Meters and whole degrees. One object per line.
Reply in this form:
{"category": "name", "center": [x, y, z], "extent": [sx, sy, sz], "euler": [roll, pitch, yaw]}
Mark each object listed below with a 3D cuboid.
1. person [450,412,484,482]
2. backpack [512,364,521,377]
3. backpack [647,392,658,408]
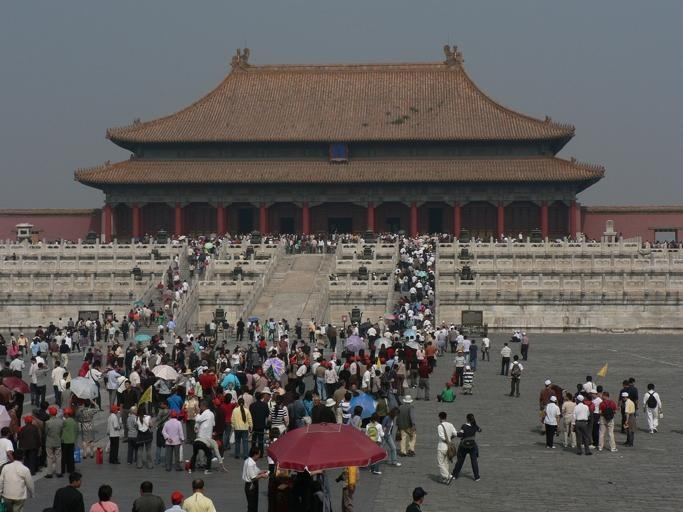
{"category": "person", "center": [3.966, 5.952, 51.133], "extent": [0.868, 2.044, 0.595], "euler": [3, 2, 8]}
{"category": "backpack", "center": [6.285, 4.124, 58.779], "extent": [0.385, 0.550, 0.276], "euler": [3, 10, 12]}
{"category": "backpack", "center": [10.362, 4.807, 54.621], "extent": [0.440, 0.654, 0.330], "euler": [2, 11, 15]}
